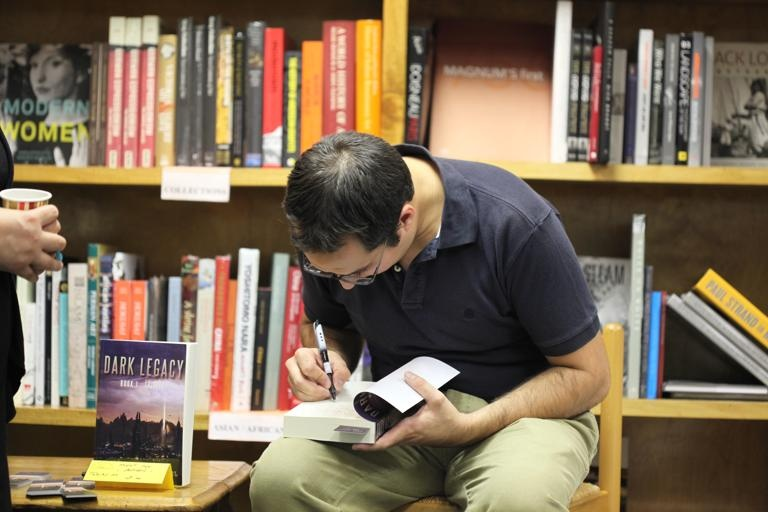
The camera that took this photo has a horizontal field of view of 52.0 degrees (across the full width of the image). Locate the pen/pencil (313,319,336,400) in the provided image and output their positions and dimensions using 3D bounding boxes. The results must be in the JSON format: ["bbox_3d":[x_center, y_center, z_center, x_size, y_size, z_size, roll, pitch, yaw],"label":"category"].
[{"bbox_3d":[-0.163,0.291,2.146,0.023,0.205,0.022,-16,-7,5],"label":"pen/pencil"}]

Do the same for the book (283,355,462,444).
[{"bbox_3d":[-0.055,0.375,2.066,0.344,0.184,0.246,3,6,16],"label":"book"}]

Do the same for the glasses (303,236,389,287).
[{"bbox_3d":[-0.072,0.012,1.986,0.142,0.043,0.150,8,16,18],"label":"glasses"}]
